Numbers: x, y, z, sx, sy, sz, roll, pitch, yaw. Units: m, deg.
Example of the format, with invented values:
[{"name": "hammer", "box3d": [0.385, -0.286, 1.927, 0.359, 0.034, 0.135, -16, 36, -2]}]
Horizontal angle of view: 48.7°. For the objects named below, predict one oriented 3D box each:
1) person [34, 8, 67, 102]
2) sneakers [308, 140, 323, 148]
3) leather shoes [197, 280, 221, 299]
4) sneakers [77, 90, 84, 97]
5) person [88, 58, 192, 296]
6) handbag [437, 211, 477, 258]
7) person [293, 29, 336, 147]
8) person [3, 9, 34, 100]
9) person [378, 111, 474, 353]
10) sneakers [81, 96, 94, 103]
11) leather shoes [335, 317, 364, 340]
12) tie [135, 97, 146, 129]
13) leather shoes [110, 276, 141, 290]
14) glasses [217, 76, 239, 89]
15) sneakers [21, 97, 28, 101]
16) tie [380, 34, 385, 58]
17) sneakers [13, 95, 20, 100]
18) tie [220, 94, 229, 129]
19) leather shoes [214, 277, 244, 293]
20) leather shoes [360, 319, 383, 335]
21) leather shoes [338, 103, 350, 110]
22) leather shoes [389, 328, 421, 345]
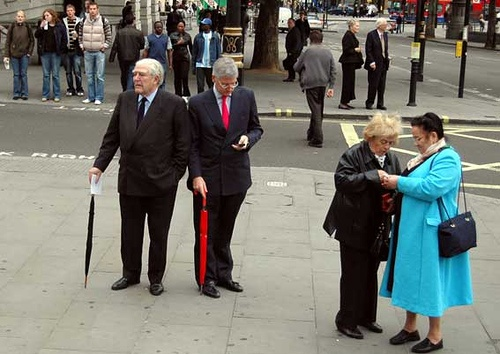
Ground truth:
[{"name": "person", "box3d": [-5.608, -3.503, 15.856, 0.808, 2.503, 1.473, -4, 15, -19]}, {"name": "sneakers", "box3d": [1.467, -0.739, 12.139, 0.281, 0.128, 0.131, 17, 22, 38]}, {"name": "leather shoes", "box3d": [-0.418, 1.214, 5.992, 0.121, 0.107, 0.260, -8, 14, -37]}, {"name": "sneakers", "box3d": [-5.037, -2.512, 16.576, 0.184, 0.227, 0.550, 0, 1, -18]}, {"name": "person", "box3d": [-1.106, 0.011, 5.884, 0.971, 2.467, 0.458, -1, 13, -7]}, {"name": "handbag", "box3d": [1.875, 0.466, 5.031, 0.458, 0.438, 0.195, -18, 9, -32]}, {"name": "person", "box3d": [1.465, -1.952, 12.364, 0.877, 2.376, 1.122, 3, 14, 6]}, {"name": "person", "box3d": [-6.417, -3.428, 15.583, 0.811, 2.426, 1.266, -4, 15, -21]}, {"name": "person", "box3d": [1.656, 0.528, 5.146, 0.873, 2.196, 0.549, 7, 15, 22]}, {"name": "sneakers", "box3d": [-4.550, -2.170, 15.676, 0.124, 0.148, 0.351, 0, -3, 19]}, {"name": "leather shoes", "box3d": [0.966, 1.468, 5.474, 0.327, 0.144, 0.122, 18, 30, 37]}, {"name": "tie", "box3d": [-1.114, -0.690, 5.754, 0.058, 0.421, 0.067, 10, 0, 6]}, {"name": "leather shoes", "box3d": [-1.361, 1.168, 6.148, 0.295, 0.124, 0.121, -2, 14, -26]}, {"name": "glasses", "box3d": [-0.195, -0.974, 5.734, 0.248, 0.116, 0.138, -13, 20, -43]}, {"name": "sneakers", "box3d": [-6.331, -2.230, 15.737, 0.071, 0.071, 0.184, 0, 0, 39]}, {"name": "tie", "box3d": [3.748, -3.675, 15.508, 0.134, 0.583, 0.166, 4, 14, 11]}, {"name": "sneakers", "box3d": [-6.553, -2.265, 15.690, 0.121, 0.151, 0.336, 2, 0, -21]}, {"name": "tie", "box3d": [-0.250, -0.684, 5.889, 0.052, 0.404, 0.044, -4, 1, -8]}, {"name": "leather shoes", "box3d": [-0.208, 1.193, 6.225, 0.336, 0.144, 0.127, 7, 12, 13]}, {"name": "leather shoes", "box3d": [1.240, 1.486, 5.594, 0.232, 0.104, 0.087, 11, 20, 35]}, {"name": "leather shoes", "box3d": [2.736, -2.041, 15.987, 0.358, 0.150, 0.128, 3, 27, -1]}, {"name": "leather shoes", "box3d": [1.494, 1.537, 5.372, 0.309, 0.131, 0.118, -2, 6, -13]}]
